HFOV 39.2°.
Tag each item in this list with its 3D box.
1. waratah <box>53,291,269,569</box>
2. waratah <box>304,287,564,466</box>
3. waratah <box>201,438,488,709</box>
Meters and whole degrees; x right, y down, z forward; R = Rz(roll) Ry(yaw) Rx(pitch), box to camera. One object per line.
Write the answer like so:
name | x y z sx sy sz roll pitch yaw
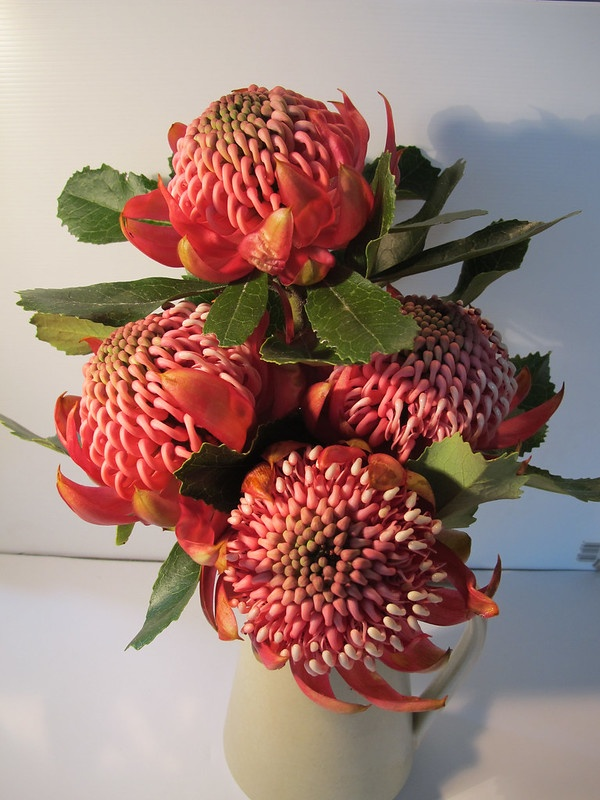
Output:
waratah | -0.130 0.017 0.771 0.210 0.204 0.125 16 21 34
waratah | 0.127 -0.009 0.781 0.200 0.075 0.179 7 -2 -21
waratah | 0.018 0.185 0.778 0.271 0.123 0.230 -7 -1 -11
